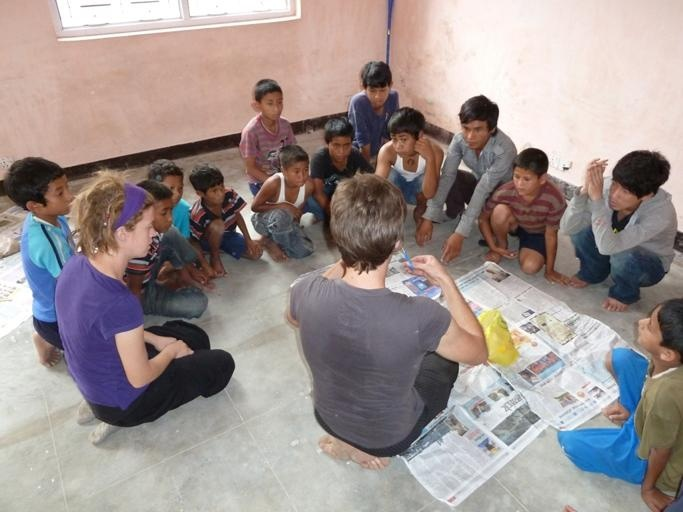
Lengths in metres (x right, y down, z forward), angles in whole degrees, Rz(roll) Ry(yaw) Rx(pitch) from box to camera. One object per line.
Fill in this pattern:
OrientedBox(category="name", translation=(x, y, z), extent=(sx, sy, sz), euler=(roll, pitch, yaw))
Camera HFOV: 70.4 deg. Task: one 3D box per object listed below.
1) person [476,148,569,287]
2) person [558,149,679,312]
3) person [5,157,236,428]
OrientedBox(category="person", translation=(1.182, -0.237, 3.207), extent=(0.595, 0.769, 0.520), euler=(22, 70, 25))
OrientedBox(category="person", translation=(1.714, -0.228, 2.928), extent=(0.493, 0.897, 0.550), euler=(-11, 33, -17))
OrientedBox(category="person", translation=(-1.124, 0.226, 2.477), extent=(0.759, 1.264, 0.701), euler=(-22, 51, -40))
